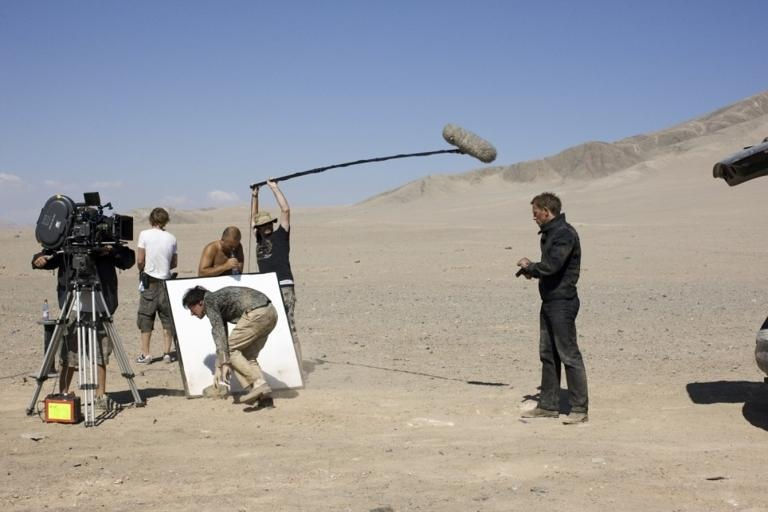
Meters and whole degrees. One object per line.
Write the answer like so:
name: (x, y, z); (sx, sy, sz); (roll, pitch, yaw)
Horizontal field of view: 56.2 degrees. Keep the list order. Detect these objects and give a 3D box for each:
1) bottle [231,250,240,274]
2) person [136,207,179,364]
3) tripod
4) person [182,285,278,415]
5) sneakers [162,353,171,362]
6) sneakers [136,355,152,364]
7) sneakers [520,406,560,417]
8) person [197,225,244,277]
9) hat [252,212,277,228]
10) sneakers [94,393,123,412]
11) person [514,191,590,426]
bottle: (-2.577, 0.103, 12.439); (0.160, 0.388, 0.283); (-4, -2, 1)
person: (-4.176, 0.550, 13.131); (0.774, 2.832, 0.981); (-3, -2, -20)
tripod: (-4.287, 1.337, 10.452); (1.420, 2.123, 0.744); (-2, -3, -26)
person: (-2.256, 1.381, 10.978); (1.260, 1.878, 0.663); (-3, -2, -9)
sneakers: (-4.036, 1.888, 13.355); (0.107, 0.091, 0.223); (1, -4, -20)
sneakers: (-4.456, 1.906, 13.264); (0.313, 0.144, 0.135); (2, 1, 23)
sneakers: (2.306, 2.276, 10.646); (0.587, 0.198, 0.194); (3, -7, 12)
person: (-2.842, -0.089, 12.450); (0.735, 0.851, 0.587); (-3, -2, -6)
hat: (-2.039, -0.622, 12.272); (0.378, 0.299, 0.758); (-3, -2, -10)
sneakers: (-4.114, 2.200, 10.736); (0.409, 0.178, 0.173); (0, 0, 23)
person: (2.498, 0.733, 10.484); (0.824, 2.406, 0.541); (-4, -2, 18)
